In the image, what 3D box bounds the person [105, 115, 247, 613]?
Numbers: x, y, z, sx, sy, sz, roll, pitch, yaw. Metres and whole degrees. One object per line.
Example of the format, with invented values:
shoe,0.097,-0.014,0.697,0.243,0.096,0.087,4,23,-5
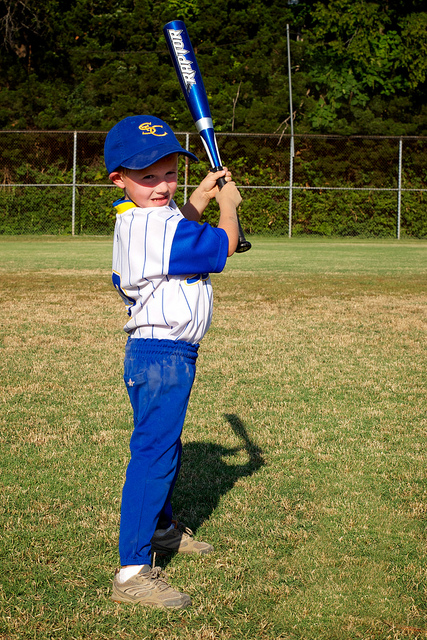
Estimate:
person,-0.142,0.104,2.753,0.427,1.460,0.603,2,11,8
